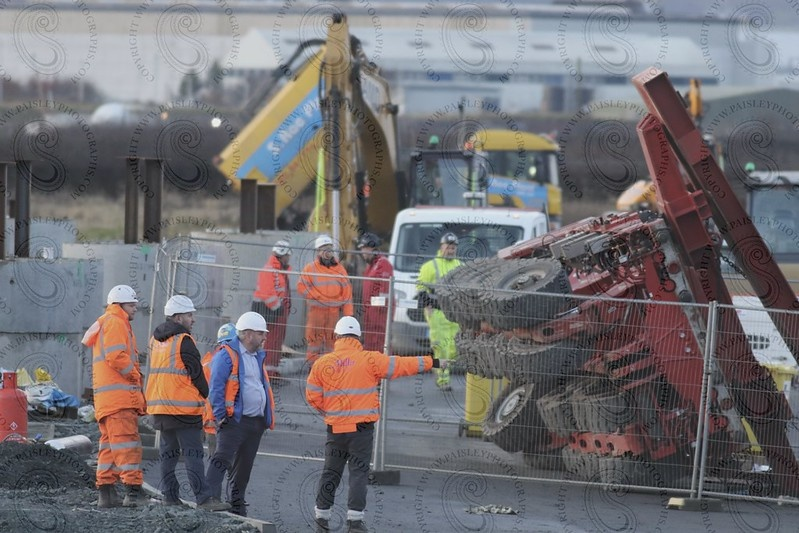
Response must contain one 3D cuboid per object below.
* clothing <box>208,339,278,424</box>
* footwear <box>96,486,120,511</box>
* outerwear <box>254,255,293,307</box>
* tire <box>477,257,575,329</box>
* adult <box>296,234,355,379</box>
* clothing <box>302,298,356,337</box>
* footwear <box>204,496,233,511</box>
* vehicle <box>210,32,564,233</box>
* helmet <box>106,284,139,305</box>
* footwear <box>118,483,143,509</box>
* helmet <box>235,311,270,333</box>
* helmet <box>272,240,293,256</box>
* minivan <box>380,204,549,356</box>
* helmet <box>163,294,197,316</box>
[{"bbox_3d":[-2.617,1.935,34.425,0.820,1.485,1.307,-5,-7,42],"label":"clothing"},{"bbox_3d":[-4.763,3.770,34.328,0.355,0.381,0.271,4,-3,-9],"label":"footwear"},{"bbox_3d":[-2.227,0.036,36.914,0.716,1.136,1.222,2,5,2],"label":"outerwear"},{"bbox_3d":[2.114,0.470,35.208,1.251,0.628,1.285,6,41,29],"label":"tire"},{"bbox_3d":[-1.293,0.719,36.491,0.854,2.529,0.816,-2,29,-9],"label":"adult"},{"bbox_3d":[-1.229,0.872,36.440,0.940,0.829,0.533,-3,-4,-9],"label":"clothing"},{"bbox_3d":[-2.960,3.866,34.158,0.443,0.210,0.190,0,0,11],"label":"footwear"},{"bbox_3d":[0.211,-2.667,42.837,8.593,5.046,3.244,3,1,3],"label":"vehicle"},{"bbox_3d":[-4.607,0.475,34.677,0.429,0.262,0.299,0,4,6],"label":"helmet"},{"bbox_3d":[-4.382,3.758,34.398,0.396,0.354,0.264,3,-3,10],"label":"footwear"},{"bbox_3d":[-2.455,0.914,34.437,0.407,0.236,0.322,0,-1,13],"label":"helmet"},{"bbox_3d":[-2.170,-0.321,38.541,0.295,0.276,0.239,-22,28,-11],"label":"helmet"},{"bbox_3d":[0.826,0.002,38.860,1.988,2.020,3.358,1,1,10],"label":"minivan"},{"bbox_3d":[-3.629,0.666,34.493,0.434,0.279,0.313,-9,13,3],"label":"helmet"}]
